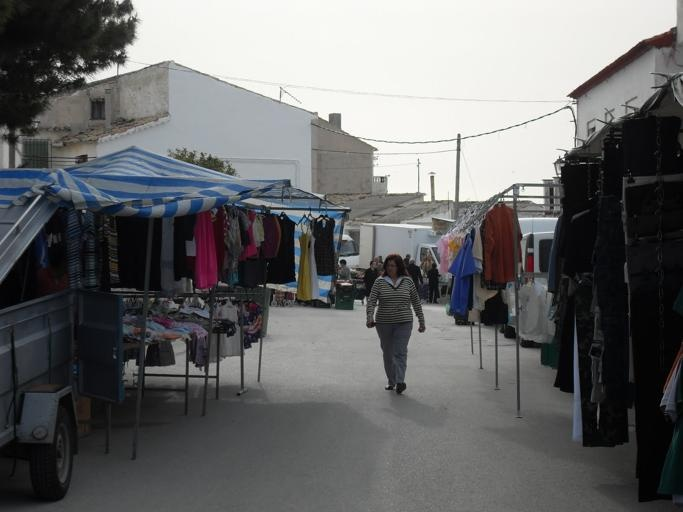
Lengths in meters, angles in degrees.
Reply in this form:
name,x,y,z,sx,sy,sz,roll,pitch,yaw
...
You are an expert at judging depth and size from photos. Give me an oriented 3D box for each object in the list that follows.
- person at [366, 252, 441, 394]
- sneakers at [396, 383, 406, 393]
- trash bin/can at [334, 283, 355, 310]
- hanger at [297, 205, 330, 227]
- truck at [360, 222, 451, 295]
name,x,y,z,sx,sy,sz,roll,pitch,yaw
person,0.904,1.105,10.673,0.889,2.232,0.936,0,0,9
sneakers,0.958,2.159,10.459,0.163,0.171,0.116,30,-35,-28
trash bin/can,0.133,1.678,26.302,0.710,1.027,0.594,0,0,-3
hanger,-0.532,-0.763,12.717,0.419,0.537,0.042,0,-1,-27
truck,2.917,-0.343,32.386,3.778,3.114,2.312,2,3,28
